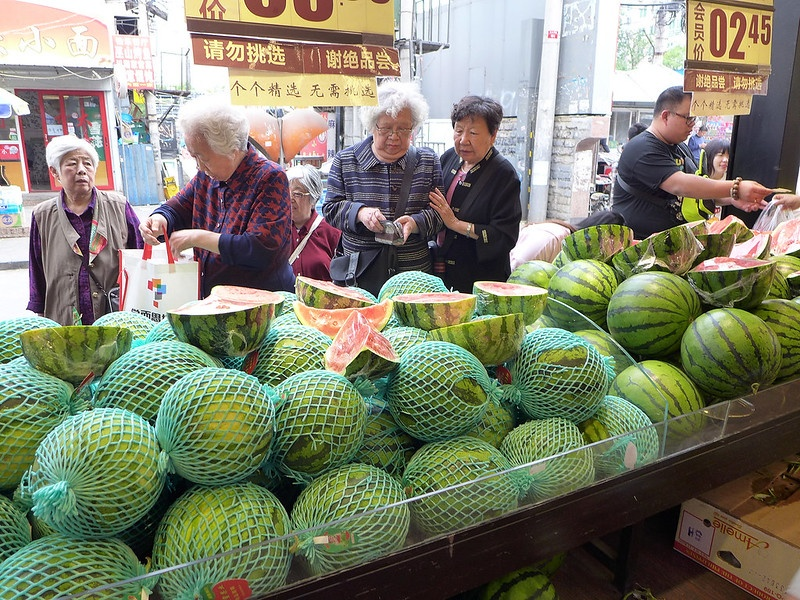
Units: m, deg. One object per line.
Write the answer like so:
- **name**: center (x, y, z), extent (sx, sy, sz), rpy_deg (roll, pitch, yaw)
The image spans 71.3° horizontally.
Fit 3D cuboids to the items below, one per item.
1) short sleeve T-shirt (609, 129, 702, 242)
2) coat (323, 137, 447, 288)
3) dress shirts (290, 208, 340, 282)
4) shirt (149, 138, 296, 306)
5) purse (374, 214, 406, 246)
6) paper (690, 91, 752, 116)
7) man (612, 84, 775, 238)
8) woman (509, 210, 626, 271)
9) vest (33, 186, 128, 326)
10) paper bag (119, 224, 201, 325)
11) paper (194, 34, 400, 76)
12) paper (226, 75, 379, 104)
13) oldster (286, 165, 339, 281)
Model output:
- **short sleeve T-shirt**: center (1.994, -0.813, 4.367), extent (0.626, 0.980, 1.035), rpy_deg (-3, 19, 16)
- **coat**: center (-0.091, -0.582, 3.605), extent (0.703, 0.939, 0.620), rpy_deg (-10, 46, -15)
- **dress shirts**: center (-0.571, -0.363, 3.737), extent (0.483, 0.510, 0.278), rpy_deg (1, 11, 20)
- **shirt**: center (-0.879, -0.445, 3.298), extent (0.881, 1.002, 0.719), rpy_deg (15, 23, 38)
- **purse**: center (-0.058, -0.399, 3.269), extent (0.161, 0.161, 0.113), rpy_deg (16, 24, 37)
- **paper**: center (2.126, -1.303, 3.704), extent (0.182, 0.145, 0.740), rpy_deg (18, 27, 42)
- **man**: center (2.088, -0.928, 4.006), extent (0.746, 1.126, 1.109), rpy_deg (-9, 22, -17)
- **woman**: center (1.329, -0.431, 4.010), extent (0.254, 0.354, 0.712), rpy_deg (-15, 27, -14)
- **vest**: center (-2.087, -0.261, 3.711), extent (0.694, 0.892, 0.386), rpy_deg (-2, 18, -31)
- **paper bag**: center (-1.135, -0.073, 2.585), extent (0.249, 0.344, 0.228), rpy_deg (13, 16, 0)
- **paper**: center (-0.437, -1.096, 2.520), extent (0.928, 0.161, 0.084), rpy_deg (-7, 20, -18)
- **paper**: center (-0.422, -0.963, 2.549), extent (0.672, 0.150, 0.121), rpy_deg (-11, 21, -26)
- **oldster**: center (-0.687, -0.421, 4.025), extent (0.402, 0.955, 0.303), rpy_deg (8, 49, -8)
